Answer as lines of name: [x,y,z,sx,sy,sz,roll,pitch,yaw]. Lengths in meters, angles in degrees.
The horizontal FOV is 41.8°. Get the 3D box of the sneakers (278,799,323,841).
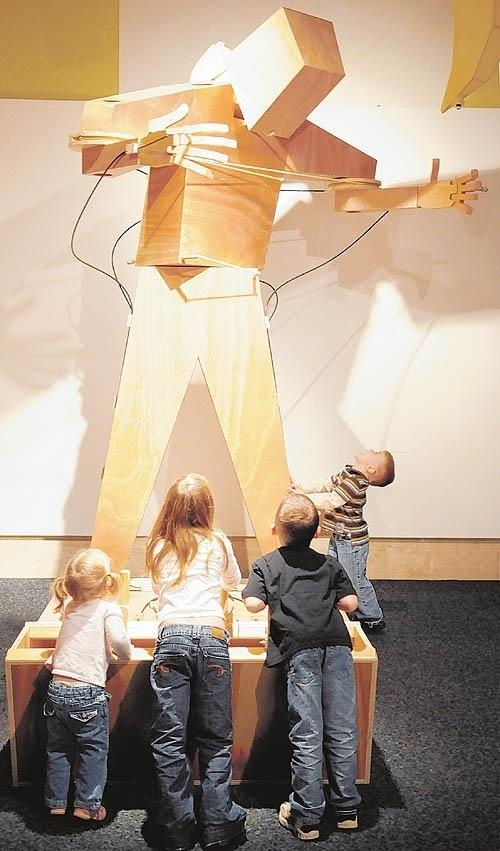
sneakers: [0.109,0.897,1.467,0.043,0.056,0.129,0,9,-20]

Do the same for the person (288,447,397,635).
person: [0.357,0.476,2.687,0.441,0.720,0.278,2,8,18]
